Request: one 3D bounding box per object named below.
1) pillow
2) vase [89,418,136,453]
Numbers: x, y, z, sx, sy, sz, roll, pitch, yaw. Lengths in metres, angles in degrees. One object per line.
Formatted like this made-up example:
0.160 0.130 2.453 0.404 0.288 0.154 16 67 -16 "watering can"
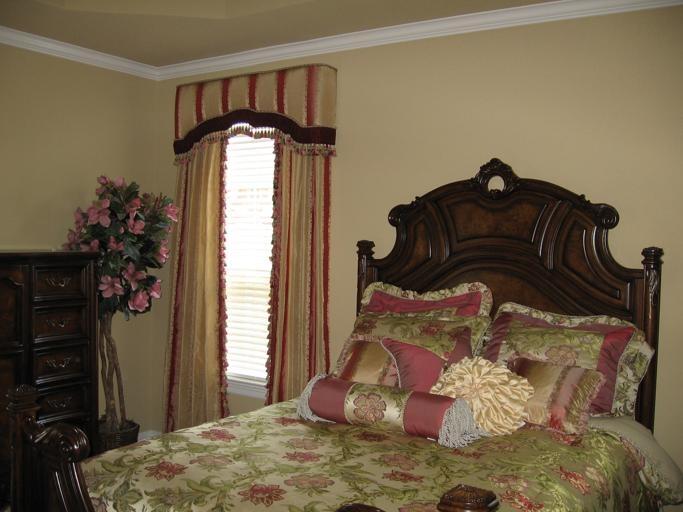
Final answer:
0.758 0.554 3.328 1.668 0.632 1.146 4 9 26 "pillow"
-1.785 1.326 4.638 0.363 0.306 0.405 0 -1 -26 "vase"
